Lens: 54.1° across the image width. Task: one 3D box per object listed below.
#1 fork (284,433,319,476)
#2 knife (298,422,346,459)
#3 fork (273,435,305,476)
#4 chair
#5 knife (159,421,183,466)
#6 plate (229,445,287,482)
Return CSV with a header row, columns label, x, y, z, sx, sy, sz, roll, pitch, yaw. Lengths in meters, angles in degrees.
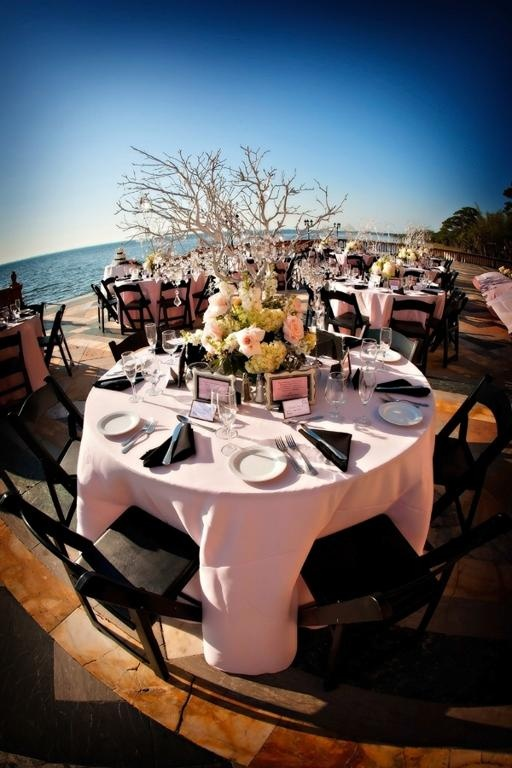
label,x,y,z,sx,sy,sz,roll,pitch,yaw
fork,0.172,0.269,1.933,0.043,0.044,0.296,-22,25,-5
knife,0.272,0.213,1.934,0.086,0.024,0.162,-8,21,-27
fork,0.124,0.266,1.935,0.038,0.039,0.268,-30,26,-3
chair,-0.107,0.284,2.056,1.164,0.647,1.123,-22,34,-36
knife,-0.321,0.227,1.934,0.040,0.022,0.151,-37,20,32
plate,0.011,0.294,1.819,0.206,0.050,0.205,-11,21,-26
